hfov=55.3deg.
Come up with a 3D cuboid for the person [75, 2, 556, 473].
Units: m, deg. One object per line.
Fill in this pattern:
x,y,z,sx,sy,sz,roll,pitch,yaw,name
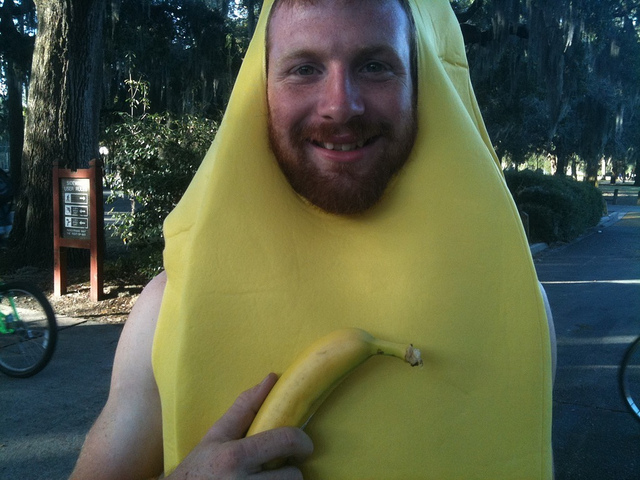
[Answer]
0.092,-0.009,2.048,1.314,1.576,0.401,0,8,-2,person
